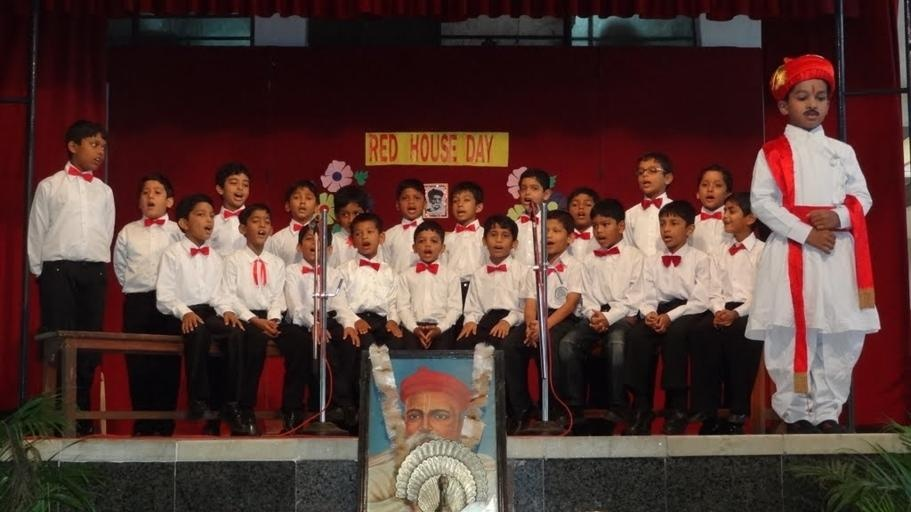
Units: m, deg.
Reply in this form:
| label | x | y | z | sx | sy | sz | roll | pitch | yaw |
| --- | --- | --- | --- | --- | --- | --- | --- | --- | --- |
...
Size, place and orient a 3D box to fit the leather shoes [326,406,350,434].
| label | x | y | z | sx | sy | sz | roll | pitch | yaw |
| --- | --- | --- | --- | --- | --- | --- | --- | --- | --- |
| leather shoes | -0.969 | 1.330 | 9.334 | 0.183 | 0.179 | 0.142 | -4 | -7 | 8 |

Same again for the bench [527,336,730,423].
| label | x | y | z | sx | sy | sz | roll | pitch | yaw |
| --- | --- | --- | --- | --- | --- | --- | --- | --- | --- |
| bench | 1.611 | 0.996 | 9.536 | 1.361 | 0.781 | 0.601 | 1 | 13 | 12 |

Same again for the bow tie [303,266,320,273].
| label | x | y | z | sx | sy | sz | roll | pitch | yaw |
| --- | --- | --- | --- | --- | --- | --- | --- | --- | --- |
| bow tie | -1.282 | 0.113 | 9.895 | 0.233 | 0.067 | 0.087 | -1 | -2 | -4 |

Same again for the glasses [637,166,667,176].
| label | x | y | z | sx | sy | sz | roll | pitch | yaw |
| --- | --- | --- | --- | --- | --- | --- | --- | --- | --- |
| glasses | 1.795 | -0.776 | 10.372 | 0.257 | 0.079 | 0.058 | 1 | 13 | 10 |

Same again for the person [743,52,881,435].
| label | x | y | z | sx | sy | sz | roll | pitch | yaw |
| --- | --- | --- | --- | --- | --- | --- | --- | --- | --- |
| person | 2.821 | -0.112 | 9.015 | 0.993 | 2.856 | 0.947 | 10 | 18 | 42 |

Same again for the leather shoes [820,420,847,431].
| label | x | y | z | sx | sy | sz | roll | pitch | yaw |
| --- | --- | --- | --- | --- | --- | --- | --- | --- | --- |
| leather shoes | 2.928 | 1.320 | 8.875 | 0.199 | 0.080 | 0.104 | 2 | 14 | 17 |

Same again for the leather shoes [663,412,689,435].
| label | x | y | z | sx | sy | sz | roll | pitch | yaw |
| --- | --- | --- | --- | --- | --- | --- | --- | --- | --- |
| leather shoes | 1.786 | 1.348 | 9.244 | 0.207 | 0.181 | 0.154 | 1 | -6 | -12 |

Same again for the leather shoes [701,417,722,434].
| label | x | y | z | sx | sy | sz | roll | pitch | yaw |
| --- | --- | --- | --- | --- | --- | --- | --- | --- | --- |
| leather shoes | 2.085 | 1.380 | 9.272 | 0.174 | 0.137 | 0.220 | 0 | 13 | 7 |

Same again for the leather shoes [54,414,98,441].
| label | x | y | z | sx | sy | sz | roll | pitch | yaw |
| --- | --- | --- | --- | --- | --- | --- | --- | --- | --- |
| leather shoes | -3.095 | 1.389 | 9.266 | 0.266 | 0.190 | 0.265 | 0 | -3 | 9 |
